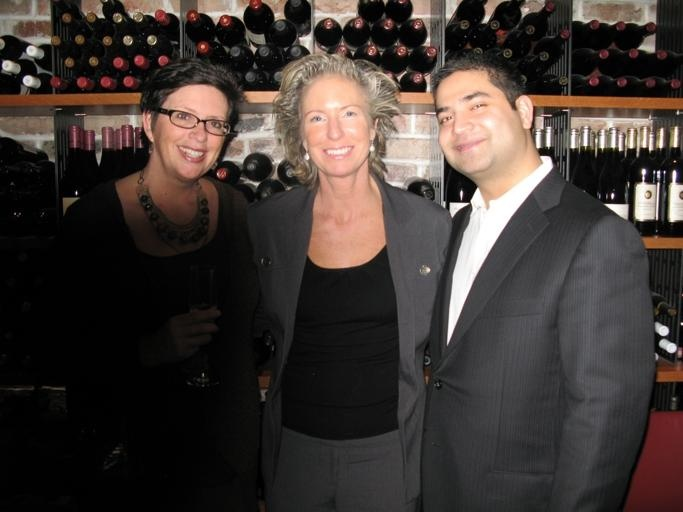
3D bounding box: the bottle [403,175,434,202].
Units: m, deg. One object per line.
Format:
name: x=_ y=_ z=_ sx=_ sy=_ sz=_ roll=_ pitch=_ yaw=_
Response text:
bottle: x=0.337 y=-0.286 z=2.479 sx=0.125 sy=0.099 sz=0.122 roll=14 pitch=6 yaw=-1
